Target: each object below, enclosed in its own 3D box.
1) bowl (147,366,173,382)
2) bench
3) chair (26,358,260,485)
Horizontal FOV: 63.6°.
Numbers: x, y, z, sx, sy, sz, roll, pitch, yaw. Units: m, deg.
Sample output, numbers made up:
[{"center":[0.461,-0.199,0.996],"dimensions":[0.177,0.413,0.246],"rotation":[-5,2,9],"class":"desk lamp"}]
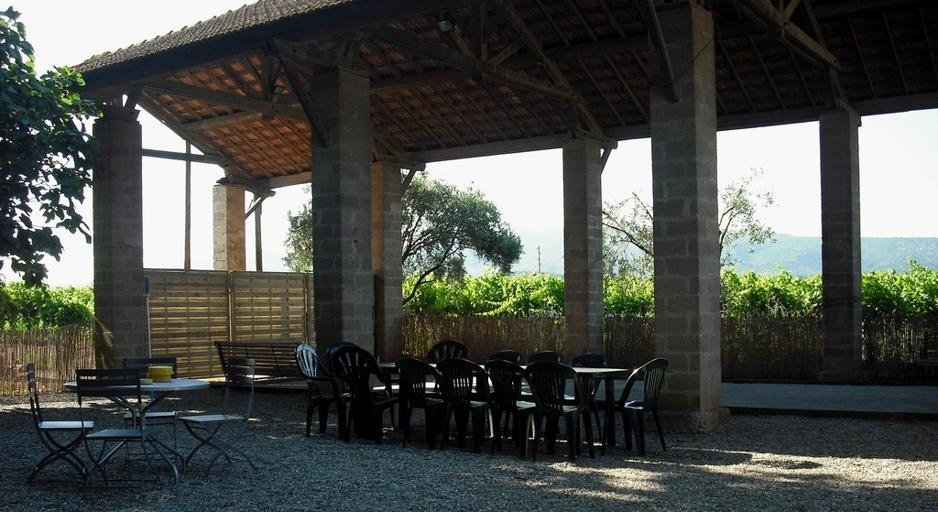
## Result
[{"center":[-4.898,1.863,11.976],"dimensions":[0.278,0.156,0.271],"rotation":[1,-3,0],"class":"bowl"},{"center":[-4.811,2.448,16.858],"dimensions":[0.751,0.680,1.611],"rotation":[20,2,31],"class":"bench"},{"center":[-5.517,2.586,12.154],"dimensions":[2.819,1.723,3.158],"rotation":[4,-8,-30],"class":"chair"}]
